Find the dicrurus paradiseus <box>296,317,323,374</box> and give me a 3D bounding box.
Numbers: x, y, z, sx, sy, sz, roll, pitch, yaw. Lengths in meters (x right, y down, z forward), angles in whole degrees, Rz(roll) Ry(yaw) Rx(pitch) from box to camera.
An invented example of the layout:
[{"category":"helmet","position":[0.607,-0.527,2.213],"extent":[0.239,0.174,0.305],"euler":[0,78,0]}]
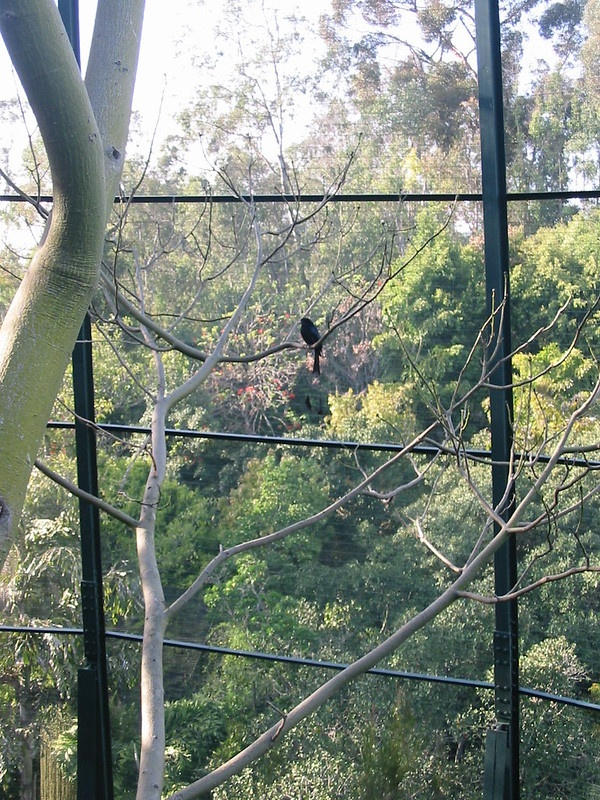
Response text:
[{"category":"dicrurus paradiseus","position":[0.089,-0.408,14.588],"extent":[0.144,0.470,0.120],"euler":[-3,22,-6]}]
